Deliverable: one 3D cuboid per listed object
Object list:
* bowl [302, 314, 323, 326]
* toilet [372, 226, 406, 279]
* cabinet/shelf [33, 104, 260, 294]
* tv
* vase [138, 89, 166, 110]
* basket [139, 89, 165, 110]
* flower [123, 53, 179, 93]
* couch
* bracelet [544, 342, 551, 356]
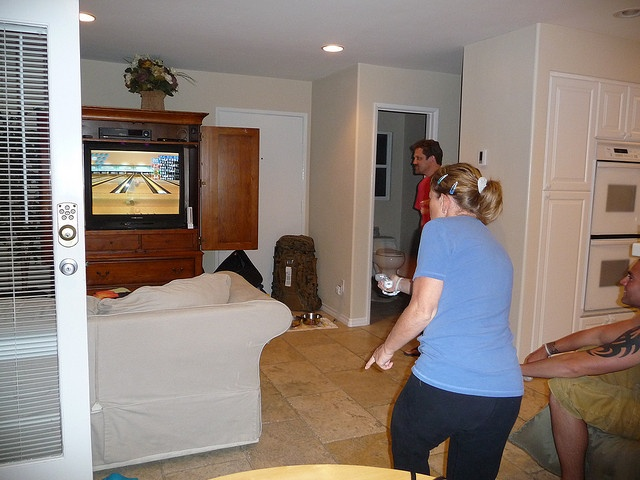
[{"bbox_3d":[-0.086,0.911,5.281,0.226,0.087,0.287,1,8,-2],"label":"bowl"},{"bbox_3d":[0.938,0.167,6.640,0.442,0.524,1.429,0,17,-3],"label":"toilet"},{"bbox_3d":[-1.510,-0.384,4.073,2.122,1.992,0.630,-3,6,-27],"label":"cabinet/shelf"},{"bbox_3d":[-2.044,-0.606,4.890,1.073,0.874,0.372,-2,2,-18],"label":"tv"},{"bbox_3d":[-1.782,-1.474,4.810,0.229,0.168,0.222,-3,13,-17],"label":"vase"},{"bbox_3d":[-1.786,-1.479,4.844,0.227,0.167,0.221,-3,13,-18],"label":"basket"},{"bbox_3d":[-1.815,-1.723,4.816,0.537,0.298,0.572,8,38,-14],"label":"flower"},{"bbox_3d":[-0.843,0.372,2.790,1.692,0.975,0.933,-3,12,-19],"label":"couch"},{"bbox_3d":[1.239,0.597,2.466,0.021,0.049,0.044,-16,2,35],"label":"bracelet"}]
